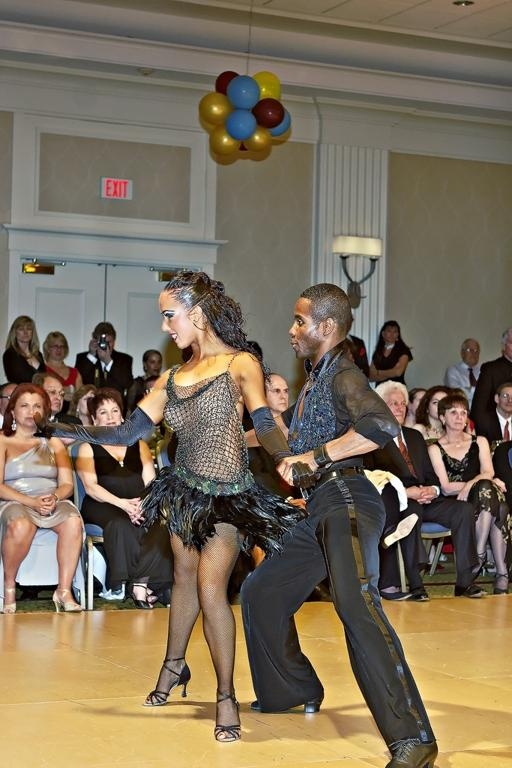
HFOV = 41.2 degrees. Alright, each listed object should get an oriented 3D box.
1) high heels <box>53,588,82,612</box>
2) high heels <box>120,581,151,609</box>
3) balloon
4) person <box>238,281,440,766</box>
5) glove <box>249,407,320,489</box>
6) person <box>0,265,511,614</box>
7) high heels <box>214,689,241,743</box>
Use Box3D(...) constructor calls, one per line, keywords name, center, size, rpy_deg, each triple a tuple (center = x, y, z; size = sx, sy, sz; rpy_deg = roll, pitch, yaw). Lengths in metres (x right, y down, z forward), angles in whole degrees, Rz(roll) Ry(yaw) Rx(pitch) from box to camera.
Box3D(name="high heels", center=(-1.097, 1.274, 3.992), size=(0.085, 0.120, 0.247), rpy_deg=(9, -16, -33))
Box3D(name="high heels", center=(-0.756, 1.286, 4.214), size=(0.095, 0.100, 0.269), rpy_deg=(4, -6, -33))
Box3D(name="balloon", center=(-0.102, -2.310, 5.791), size=(0.750, 0.735, 0.773), rpy_deg=(1, -9, 2))
Box3D(name="person", center=(0.192, 0.327, 1.843), size=(0.373, 1.221, 0.763), rpy_deg=(3, -10, -11))
Box3D(name="glove", center=(0.062, 0.128, 1.700), size=(0.081, 0.282, 0.093), rpy_deg=(-31, -27, -22))
Box3D(name="person", center=(-0.113, 0.091, 2.284), size=(1.008, 1.508, 1.098), rpy_deg=(9, -13, -36))
Box3D(name="high heels", center=(-0.075, 0.888, 1.828), size=(0.061, 0.063, 0.171), rpy_deg=(-1, -8, -2))
